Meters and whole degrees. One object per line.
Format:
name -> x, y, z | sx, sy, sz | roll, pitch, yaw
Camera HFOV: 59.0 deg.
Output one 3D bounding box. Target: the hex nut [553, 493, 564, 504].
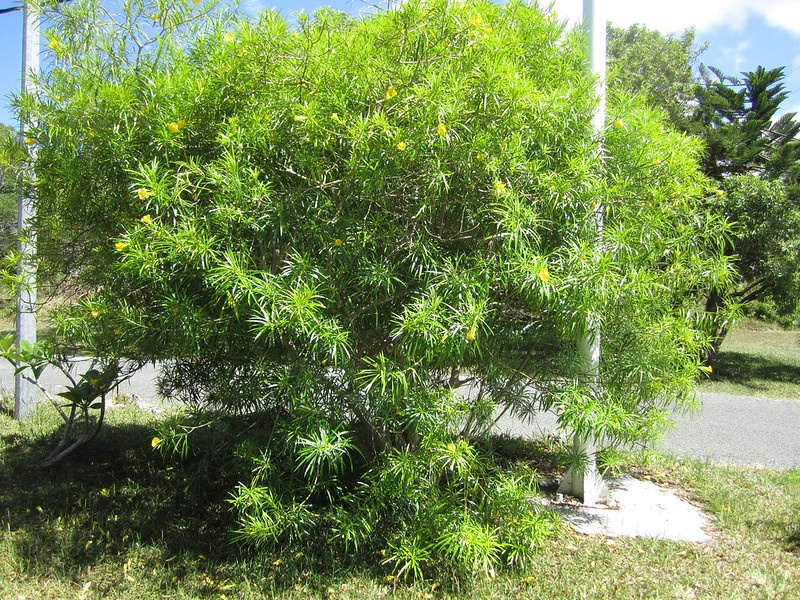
hex nut -> 1.402, 1.753, 6.273 | 0.062, 0.074, 0.065 | -3, 5, -27
